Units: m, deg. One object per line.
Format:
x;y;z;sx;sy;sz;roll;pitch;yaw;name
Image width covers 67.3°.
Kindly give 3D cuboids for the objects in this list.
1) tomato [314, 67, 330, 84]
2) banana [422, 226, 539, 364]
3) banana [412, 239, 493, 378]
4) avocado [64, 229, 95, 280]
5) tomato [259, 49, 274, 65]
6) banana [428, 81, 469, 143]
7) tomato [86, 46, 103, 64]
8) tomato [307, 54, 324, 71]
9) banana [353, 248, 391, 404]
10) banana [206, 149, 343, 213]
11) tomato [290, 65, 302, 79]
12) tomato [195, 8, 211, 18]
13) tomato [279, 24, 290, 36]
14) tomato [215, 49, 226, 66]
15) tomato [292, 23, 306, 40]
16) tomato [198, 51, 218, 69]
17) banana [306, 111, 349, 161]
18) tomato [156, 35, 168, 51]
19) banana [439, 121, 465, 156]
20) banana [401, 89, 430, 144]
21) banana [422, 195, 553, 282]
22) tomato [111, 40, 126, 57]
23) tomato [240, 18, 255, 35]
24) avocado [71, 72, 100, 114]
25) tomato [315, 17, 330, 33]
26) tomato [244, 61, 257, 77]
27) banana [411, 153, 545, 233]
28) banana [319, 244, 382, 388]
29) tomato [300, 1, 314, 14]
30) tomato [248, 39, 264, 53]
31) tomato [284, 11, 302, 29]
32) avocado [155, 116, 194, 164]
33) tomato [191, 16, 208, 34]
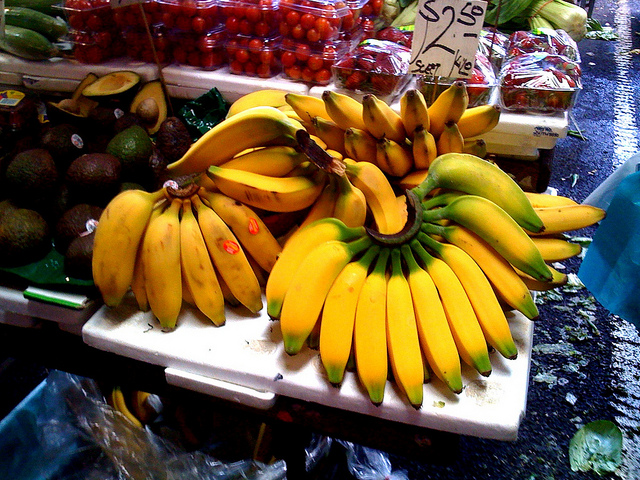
0.009;-0.697;2.029;0.054;0.067;0.057;3;80;10;tomato
0.433;0.123;1.305;0.224;0.096;0.404;-36;83;-2;banana
0.279;0.174;1.222;0.089;0.135;0.400;-23;81;-9;banana
-0.675;0.048;1.358;0.087;0.117;0.053;7;-1;16;avocado
-0.225;-0.778;2.050;0.052;0.054;0.053;1;9;9;tomato
0.383;-0.390;1.479;0.096;0.116;0.342;9;4;1;banana
-1.011;-0.832;2.160;0.067;0.072;0.019;-9;42;-14;tomato
-0.016;-0.740;2.004;0.058;0.060;0.060;17;59;-3;tomato
0.137;0.216;1.144;0.066;0.321;0.109;16;-14;-33;banana
-0.138;-0.169;1.323;0.341;0.223;0.092;1;33;10;banana
-0.104;-0.718;2.056;0.045;0.054;0.045;10;51;16;tomato
-0.495;-0.964;2.042;0.049;0.040;0.037;-3;-1;24;tomato
-0.145;-0.897;2.070;0.039;0.048;0.039;-38;52;-19;tomato
-0.447;-0.824;2.171;0.021;0.062;0.046;17;21;29;tomato
-0.086;-0.880;2.016;0.040;0.040;0.049;-29;-3;2;tomato
-0.495;-0.797;2.129;0.085;0.065;0.037;-10;42;-15;tomato
0.024;-0.308;1.408;0.048;0.177;0.062;-42;9;-28;banana
-0.704;-0.878;2.141;0.051;0.051;0.048;25;52;10;tomato
0.374;-0.288;1.373;0.047;0.135;0.036;-41;66;-21;banana
0.269;-0.344;1.366;0.092;0.166;0.072;12;41;10;banana
0.390;-0.003;1.176;0.407;0.138;0.092;1;44;-30;banana
-0.925;-0.882;2.214;0.020;0.073;0.063;31;48;29;tomato
-0.313;-0.916;2.063;0.051;0.053;0.031;0;24;10;tomato
-1.026;-0.689;2.163;0.079;0.143;0.244;-51;30;-6;avocado
0.013;-0.878;1.993;0.052;0.064;0.052;0;-1;35;tomato
-0.300;-0.746;2.088;0.049;0.060;0.050;2;14;16;tomato
0.427;-0.145;1.293;0.175;0.077;0.337;-40;72;8;banana
0.050;0.186;1.233;0.079;0.116;0.364;0;62;58;banana
-0.054;-0.958;1.977;0.058;0.047;0.022;8;41;6;tomato
-0.270;-0.823;2.036;0.054;0.067;0.055;8;11;-7;tomato
-0.114;-0.926;2.016;0.082;0.064;0.026;23;44;21;tomato
-0.492;-0.334;1.626;0.114;0.156;0.086;-3;10;-7;avocado
-0.517;-0.923;2.065;0.069;0.072;0.031;-7;41;-12;tomato
